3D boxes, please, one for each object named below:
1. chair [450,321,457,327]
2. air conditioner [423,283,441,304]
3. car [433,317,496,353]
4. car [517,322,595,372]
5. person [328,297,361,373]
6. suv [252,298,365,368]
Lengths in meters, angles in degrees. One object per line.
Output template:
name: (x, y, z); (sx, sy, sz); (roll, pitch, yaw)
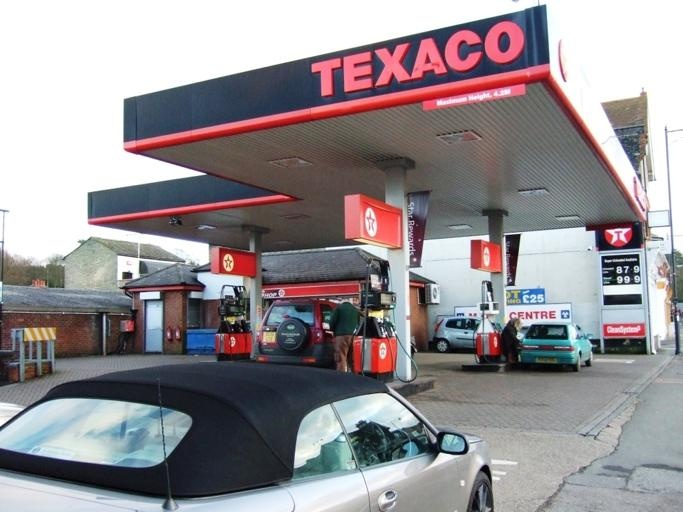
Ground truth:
chair: (6.289, 3.846, 29.531); (0.376, 0.353, 0.649); (5, -3, 3)
air conditioner: (5.487, 2.327, 32.098); (0.419, 1.149, 1.319); (0, -5, 28)
car: (6.838, 4.496, 28.950); (3.557, 1.741, 2.040); (-4, -6, 14)
car: (7.697, 3.170, 18.478); (1.567, 1.092, 2.683); (-1, 0, 31)
person: (0.111, 1.782, 11.787); (0.647, 1.595, 0.688); (11, -10, -24)
suv: (-1.271, 2.059, 14.197); (1.604, 1.345, 2.749); (-1, -1, 26)
